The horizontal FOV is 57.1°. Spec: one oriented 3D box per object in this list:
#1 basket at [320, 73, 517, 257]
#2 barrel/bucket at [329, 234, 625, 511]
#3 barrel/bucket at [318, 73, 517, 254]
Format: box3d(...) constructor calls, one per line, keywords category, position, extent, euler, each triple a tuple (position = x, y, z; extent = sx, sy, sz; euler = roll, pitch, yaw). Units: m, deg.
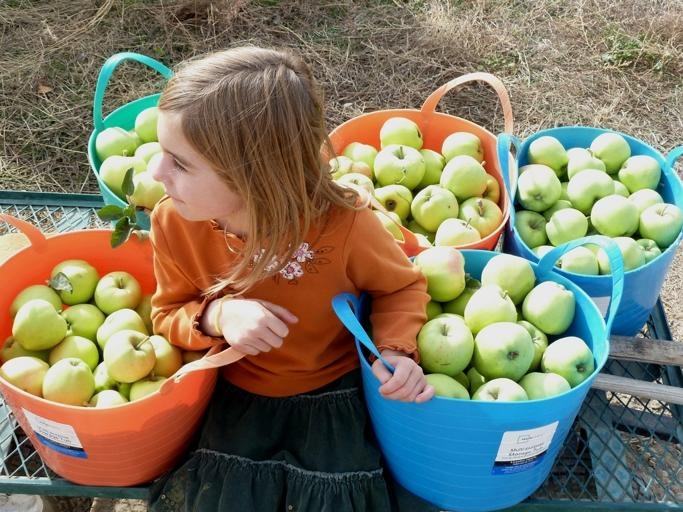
box3d(category="basket", position=(0.321, -0.357, 2.535), extent=(0.660, 0.499, 0.731), euler=(30, 60, 27))
box3d(category="barrel/bucket", position=(0.401, 0.455, 2.174), extent=(0.900, 0.796, 0.785), euler=(-20, 41, -19))
box3d(category="barrel/bucket", position=(0.319, -0.361, 2.535), extent=(0.652, 0.491, 0.721), euler=(31, 60, 27))
